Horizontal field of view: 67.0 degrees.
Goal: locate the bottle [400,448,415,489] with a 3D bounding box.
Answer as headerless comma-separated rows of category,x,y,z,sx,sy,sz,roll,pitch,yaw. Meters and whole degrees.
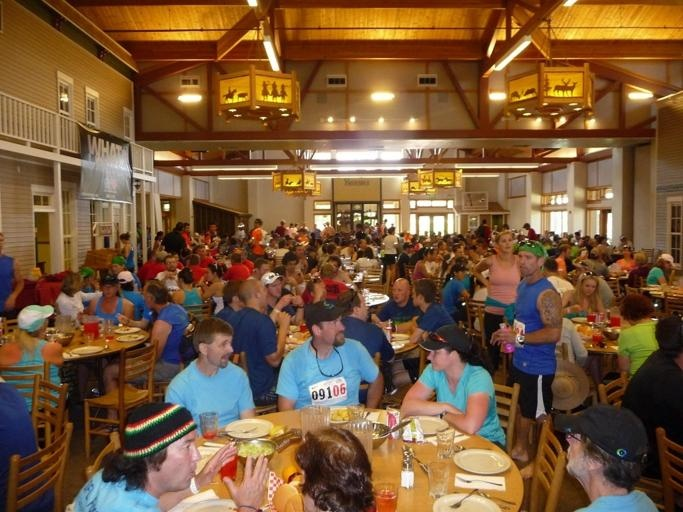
bottle,0.415,1.362,3.307,0.085,0.236,0.110,-2,2,6

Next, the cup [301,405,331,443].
cup,-0.185,1.181,3.658,0.207,0.253,0.190,-2,2,0

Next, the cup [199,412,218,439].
cup,-0.981,1.242,3.810,0.119,0.206,0.179,-2,2,-15

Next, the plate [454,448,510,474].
plate,0.961,1.407,3.523,0.370,0.075,0.283,-2,1,-18

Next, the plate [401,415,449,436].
plate,0.653,1.286,3.920,0.289,0.113,0.295,-1,2,25

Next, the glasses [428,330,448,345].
glasses,0.783,0.670,4.216,0.133,0.046,0.094,15,4,14

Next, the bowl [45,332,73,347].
bowl,-3.558,1.034,6.574,0.288,0.114,0.280,2,-2,0

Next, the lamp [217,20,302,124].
lamp,-1.502,-3.693,10.396,2.021,2.329,1.819,0,-3,-1

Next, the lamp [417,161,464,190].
lamp,3.830,-3.024,20.272,1.803,0.749,1.614,1,2,6

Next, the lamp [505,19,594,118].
lamp,4.254,-3.330,10.595,1.548,0.686,1.726,1,4,31

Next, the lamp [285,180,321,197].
lamp,-1.577,-2.655,21.189,1.226,0.387,1.071,0,6,15

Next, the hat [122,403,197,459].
hat,-1.021,0.928,2.848,0.312,0.190,0.303,-20,0,-25

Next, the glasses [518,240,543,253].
glasses,1.968,-0.086,5.320,0.169,0.052,0.176,4,-28,43

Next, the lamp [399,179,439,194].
lamp,3.554,-3.254,24.667,1.258,0.521,1.255,3,6,21

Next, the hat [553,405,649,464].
hat,1.517,0.983,3.033,0.449,0.212,0.302,11,6,29

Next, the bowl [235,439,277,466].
bowl,-0.588,1.305,3.426,0.307,0.131,0.209,-1,2,20

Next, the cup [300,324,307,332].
cup,-0.558,1.022,7.369,0.101,0.108,0.107,-1,-3,0

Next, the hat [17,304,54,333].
hat,-3.051,0.625,5.142,0.296,0.278,0.250,-3,2,-34

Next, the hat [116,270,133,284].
hat,-3.381,0.329,8.073,0.201,0.144,0.272,-6,6,-34

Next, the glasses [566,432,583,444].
glasses,1.375,1.074,3.045,0.070,0.020,0.069,8,-7,-38

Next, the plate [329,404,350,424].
plate,-0.022,1.194,3.885,0.116,0.026,0.112,-2,6,-19

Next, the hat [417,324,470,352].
hat,0.854,0.681,4.229,0.333,0.155,0.221,7,-2,4

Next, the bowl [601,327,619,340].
bowl,3.520,1.010,6.768,0.144,0.082,0.173,-1,-4,3

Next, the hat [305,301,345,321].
hat,-0.156,0.464,4.324,0.239,0.097,0.174,-5,7,5
